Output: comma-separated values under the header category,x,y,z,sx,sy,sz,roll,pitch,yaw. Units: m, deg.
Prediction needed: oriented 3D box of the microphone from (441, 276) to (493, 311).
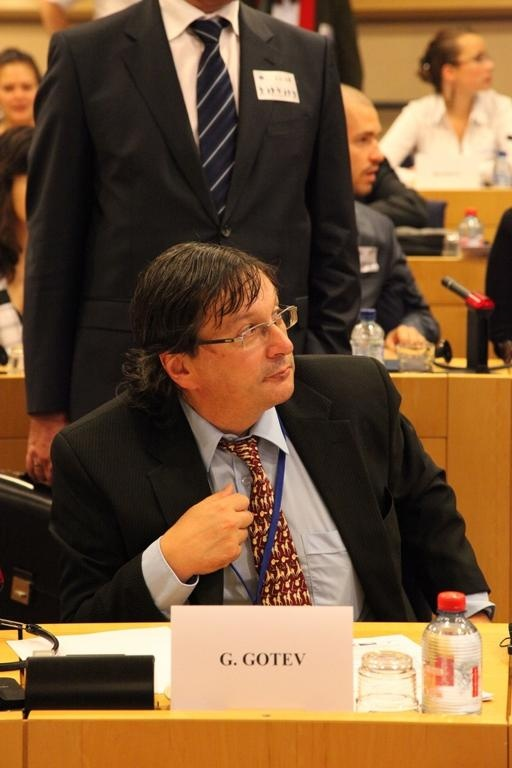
category,x,y,z,sx,sy,sz,roll,pitch,yaw
microphone,0.735,-0.306,2.749,0.068,0.083,0.294,6,19,-24

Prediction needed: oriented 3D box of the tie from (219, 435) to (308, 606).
category,x,y,z,sx,sy,sz,roll,pitch,yaw
tie,0.030,0.234,1.319,0.091,0.289,0.045,-11,-17,-3

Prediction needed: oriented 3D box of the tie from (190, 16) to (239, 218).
category,x,y,z,sx,sy,sz,roll,pitch,yaw
tie,-0.104,-0.596,1.816,0.090,0.479,0.059,0,-7,-2

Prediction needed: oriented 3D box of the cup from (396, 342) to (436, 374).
category,x,y,z,sx,sy,sz,roll,pitch,yaw
cup,0.546,-0.090,2.724,0.103,0.073,0.103,0,2,0

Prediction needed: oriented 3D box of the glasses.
category,x,y,z,sx,sy,sz,roll,pitch,yaw
glasses,0.001,-0.091,1.322,0.106,0.030,0.103,-14,8,38

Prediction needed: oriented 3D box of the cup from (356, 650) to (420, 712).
category,x,y,z,sx,sy,sz,roll,pitch,yaw
cup,0.141,0.320,0.847,0.057,0.052,0.057,-2,3,0

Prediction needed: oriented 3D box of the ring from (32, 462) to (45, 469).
category,x,y,z,sx,sy,sz,roll,pitch,yaw
ring,-0.517,0.190,1.864,0.019,0.008,0.026,2,5,-4
